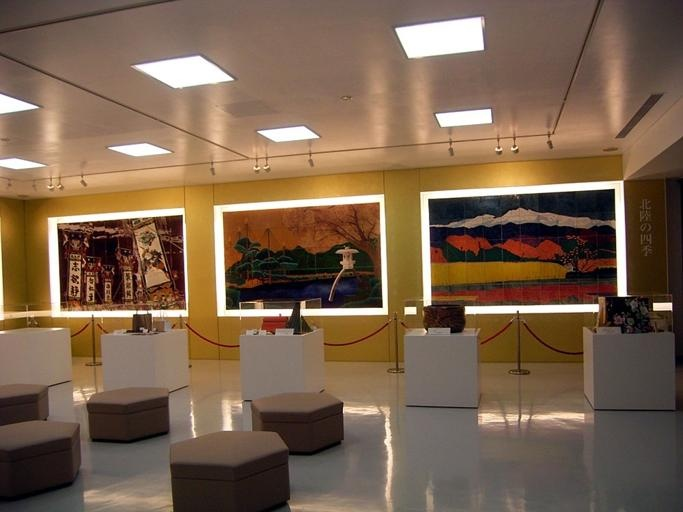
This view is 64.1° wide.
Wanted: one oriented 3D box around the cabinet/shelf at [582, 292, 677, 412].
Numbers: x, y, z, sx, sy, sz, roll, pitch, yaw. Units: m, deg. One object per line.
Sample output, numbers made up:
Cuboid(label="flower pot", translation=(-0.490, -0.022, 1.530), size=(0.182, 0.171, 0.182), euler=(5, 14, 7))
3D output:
Cuboid(label="cabinet/shelf", translation=(5.243, 1.849, 10.983), size=(1.910, 2.698, 1.905), euler=(0, -5, 17))
